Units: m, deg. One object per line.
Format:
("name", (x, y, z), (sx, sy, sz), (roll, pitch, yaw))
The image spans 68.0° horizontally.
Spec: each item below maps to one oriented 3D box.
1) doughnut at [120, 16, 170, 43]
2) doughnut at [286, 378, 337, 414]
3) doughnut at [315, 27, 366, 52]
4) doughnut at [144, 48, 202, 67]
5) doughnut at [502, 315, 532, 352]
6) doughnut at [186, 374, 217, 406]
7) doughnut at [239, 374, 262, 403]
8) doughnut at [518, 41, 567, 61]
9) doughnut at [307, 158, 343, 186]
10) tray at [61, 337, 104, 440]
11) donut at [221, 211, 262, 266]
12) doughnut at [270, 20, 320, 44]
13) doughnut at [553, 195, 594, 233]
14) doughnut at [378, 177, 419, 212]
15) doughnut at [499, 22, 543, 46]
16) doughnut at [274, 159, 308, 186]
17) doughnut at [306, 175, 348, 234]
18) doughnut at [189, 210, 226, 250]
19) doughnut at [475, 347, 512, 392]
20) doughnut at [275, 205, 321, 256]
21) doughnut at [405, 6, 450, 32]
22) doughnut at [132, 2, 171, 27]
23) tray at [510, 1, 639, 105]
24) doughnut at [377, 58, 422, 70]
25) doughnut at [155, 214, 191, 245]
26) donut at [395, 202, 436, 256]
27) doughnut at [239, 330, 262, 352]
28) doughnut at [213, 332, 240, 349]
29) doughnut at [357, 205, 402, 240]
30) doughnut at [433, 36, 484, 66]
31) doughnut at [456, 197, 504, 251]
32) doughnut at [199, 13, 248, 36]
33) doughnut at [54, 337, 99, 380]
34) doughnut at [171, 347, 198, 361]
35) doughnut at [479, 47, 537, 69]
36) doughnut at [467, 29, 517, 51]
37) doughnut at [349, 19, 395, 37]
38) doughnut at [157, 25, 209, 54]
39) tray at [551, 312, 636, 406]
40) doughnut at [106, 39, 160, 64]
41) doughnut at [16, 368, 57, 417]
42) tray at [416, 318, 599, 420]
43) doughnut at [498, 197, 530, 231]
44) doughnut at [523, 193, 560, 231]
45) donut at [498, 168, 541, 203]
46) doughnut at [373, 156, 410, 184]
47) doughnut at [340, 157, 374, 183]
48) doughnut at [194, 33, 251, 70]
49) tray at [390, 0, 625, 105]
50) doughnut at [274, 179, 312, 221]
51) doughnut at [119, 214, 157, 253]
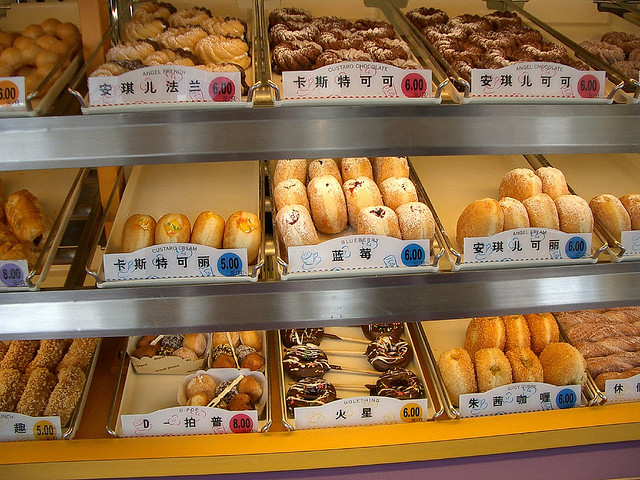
("doughnut", (-0.547, -0.660, 1.495), (0.133, 0.058, 0.109), (-3, 35, -4))
("doughnut", (-0.038, 0.504, 1.604), (0.166, 0.173, 0.065), (15, 60, 16))
("doughnut", (0.063, -0.603, 1.427), (0.119, 0.042, 0.104), (23, 31, 35))
("doughnut", (-0.410, -0.504, 1.307), (0.106, 0.039, 0.123), (25, 34, 35))
("doughnut", (0.682, 0.333, 1.657), (0.094, 0.119, 0.063), (0, -20, -4))
("doughnut", (-0.387, 0.477, 1.527), (0.102, 0.072, 0.063), (-3, 5, -6))
("doughnut", (-0.226, 0.486, 1.534), (0.072, 0.082, 0.043), (-3, 5, -8))
("doughnut", (0.686, -0.586, 1.449), (0.111, 0.037, 0.117), (-1, 24, -8))
("doughnut", (0.013, -0.236, 1.612), (0.084, 0.125, 0.088), (-9, -19, -15))
("tray", (-0.835, 0.452, 1.590), (0.088, 0.086, 0.552), (10, 13, -19))
("donut", (-0.239, 0.010, 1.391), (0.103, 0.146, 0.104), (21, 20, 13))
("doughnut", (-0.071, -0.644, 1.462), (0.106, 0.040, 0.109), (15, 27, 32))
("doughnut", (0.779, -0.081, 1.441), (0.116, 0.109, 0.084), (0, 6, 22))
("doughnut", (0.247, -0.128, 1.510), (0.104, 0.068, 0.116), (-8, 42, -11))
("doughnut", (0.656, -0.663, 1.566), (0.116, 0.037, 0.125), (4, 44, 0))
("doughnut", (-0.094, -0.228, 1.533), (0.085, 0.081, 0.085), (-15, 18, -37))
("doughnut", (0.012, -0.105, 1.484), (0.116, 0.164, 0.075), (-3, -21, -37))
("doughnut", (-0.329, -0.015, 1.386), (0.090, 0.129, 0.090), (23, -26, -37))
("doughnut", (0.571, 0.423, 1.553), (0.100, 0.053, 0.137), (-1, 35, 8))
("doughnut", (-0.060, -0.010, 1.400), (0.084, 0.155, 0.069), (-19, -11, -6))
("doughnut", (0.372, -0.770, 1.636), (0.124, 0.046, 0.125), (28, 42, 33))
("doughnut", (-0.561, -0.758, 1.569), (0.101, 0.042, 0.126), (-11, 44, -9))
("tray", (0.786, -0.567, 1.442), (0.369, 0.093, 0.364), (-15, 51, -21))
("doughnut", (0.226, -0.476, 1.279), (0.085, 0.031, 0.085), (4, 18, 1))
("doughnut", (-0.419, -0.026, 1.388), (0.095, 0.093, 0.093), (-4, -11, -19))
("donut", (0.273, -0.045, 1.442), (0.124, 0.133, 0.131), (-4, 37, 0))
("doughnut", (-0.247, 0.357, 1.676), (0.078, 0.075, 0.045), (-4, 5, -13))
("doughnut", (-0.334, 0.350, 1.683), (0.076, 0.026, 0.079), (-20, 52, -11))
("doughnut", (0.168, -0.053, 1.355), (0.095, 0.097, 0.098), (-6, 17, -10))
("doughnut", (0.413, -0.588, 1.440), (0.117, 0.050, 0.145), (9, 33, 1))
("doughnut", (0.480, -0.035, 1.463), (0.076, 0.143, 0.141), (28, -40, -26))
("doughnut", (-0.322, -0.702, 1.504), (0.127, 0.045, 0.098), (23, 37, 28))
("doughnut", (-0.826, 0.385, 1.608), (0.110, 0.073, 0.198), (11, 36, -11))
("doughnut", (-0.470, 0.392, 1.633), (0.051, 0.027, 0.052), (5, 14, -42))
("doughnut", (0.538, -0.520, 1.355), (0.127, 0.048, 0.130), (-10, 27, -17))
("doughnut", (0.539, -0.635, 1.492), (0.103, 0.035, 0.112), (-17, 38, -23))
("doughnut", (0.169, -0.702, 1.545), (0.105, 0.040, 0.109), (-2, 30, -1))
("doughnut", (-0.417, -0.604, 1.414), (0.123, 0.045, 0.107), (16, 37, 22))
("tray", (0.927, 0.415, 1.599), (0.218, 0.067, 0.231), (0, 58, 2))
("doughnut", (-0.530, -0.536, 1.338), (0.118, 0.045, 0.103), (5, 33, 14))
("doughnut", (-0.897, 0.484, 1.493), (0.077, 0.050, 0.135), (4, 47, -6))
("tray", (0.632, 0.420, 1.650), (0.513, 0.234, 0.366), (-3, 6, -9))
("doughnut", (0.635, -0.090, 1.464), (0.122, 0.069, 0.112), (-15, -4, 31))
("doughnut", (0.666, -0.086, 1.449), (0.084, 0.109, 0.115), (1, 2, 16))
("donut", (0.654, -0.169, 1.552), (0.100, 0.090, 0.114), (2, 2, -28))
("doughnut", (0.234, -0.240, 1.559), (0.094, 0.096, 0.091), (-3, 9, 3))
("doughnut", (0.120, -0.236, 1.559), (0.082, 0.083, 0.083), (-4, -6, -21))
("doughnut", (-0.286, -0.548, 1.364), (0.141, 0.049, 0.113), (-19, 51, -29))
("tray", (0.564, -0.556, 1.411), (0.311, 0.050, 0.643), (-6, 44, -9))
("doughnut", (-0.076, -0.108, 1.489), (0.092, 0.105, 0.098), (-16, 11, -9))
("doughnut", (-0.529, -0.016, 1.380), (0.092, 0.141, 0.085), (8, 12, -23))
